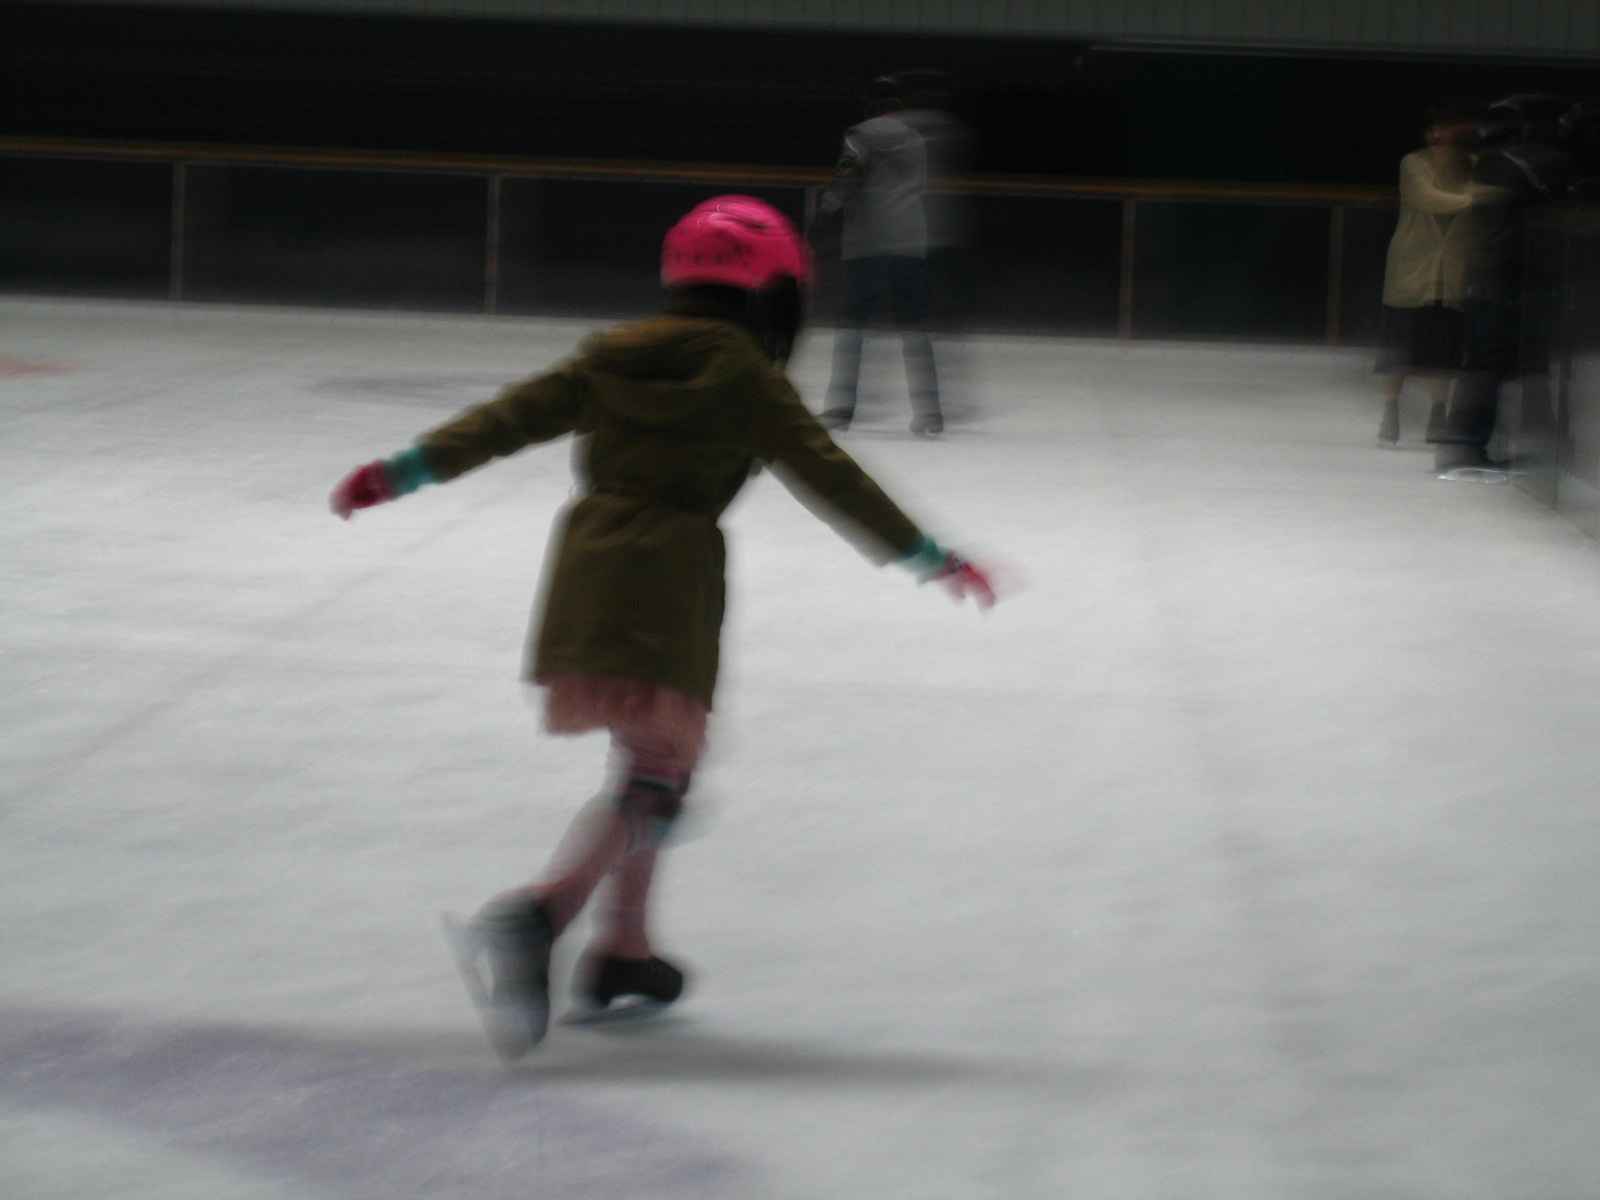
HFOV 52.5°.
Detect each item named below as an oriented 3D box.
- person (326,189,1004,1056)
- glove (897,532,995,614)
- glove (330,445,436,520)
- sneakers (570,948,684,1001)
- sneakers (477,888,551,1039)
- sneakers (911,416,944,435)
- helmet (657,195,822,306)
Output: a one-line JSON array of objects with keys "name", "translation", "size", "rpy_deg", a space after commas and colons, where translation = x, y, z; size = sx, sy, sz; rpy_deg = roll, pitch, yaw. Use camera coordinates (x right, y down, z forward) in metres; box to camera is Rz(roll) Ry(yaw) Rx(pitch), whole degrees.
[{"name": "person", "translation": [-0.297, 0.038, 2.979], "size": [0.985, 1.566, 0.404], "rpy_deg": [1, 9, -20]}, {"name": "glove", "translation": [0.272, -0.048, 3.039], "size": [0.089, 0.076, 0.230], "rpy_deg": [-40, -34, 24]}, {"name": "glove", "translation": [-0.771, -0.225, 2.876], "size": [0.203, 0.064, 0.104], "rpy_deg": [-22, -8, 4]}, {"name": "sneakers", "translation": [-0.336, 0.728, 3.125], "size": [0.197, 0.088, 0.089], "rpy_deg": [-5, 12, -13]}, {"name": "sneakers", "translation": [-0.505, 0.667, 2.862], "size": [0.143, 0.312, 0.108], "rpy_deg": [1, 9, -22]}, {"name": "sneakers", "translation": [0.774, -1.077, 9.884], "size": [0.151, 0.095, 0.145], "rpy_deg": [6, 14, 15]}, {"name": "helmet", "translation": [-0.131, -0.676, 3.090], "size": [0.262, 0.161, 0.288], "rpy_deg": [11, 10, 21]}]
